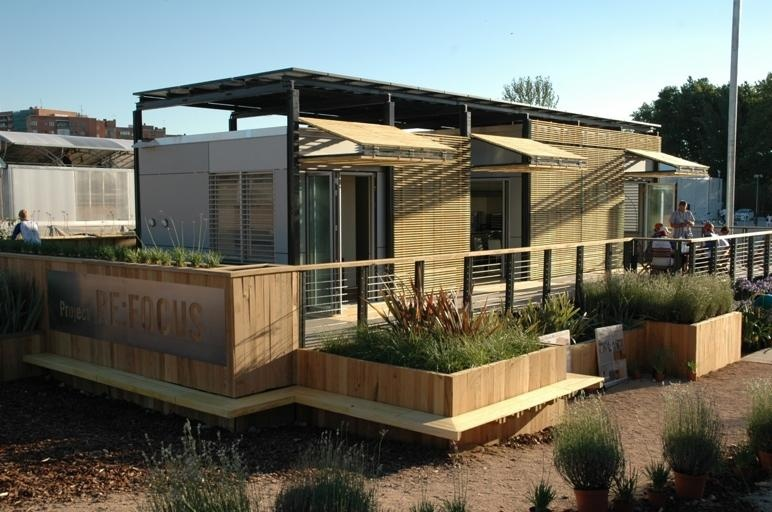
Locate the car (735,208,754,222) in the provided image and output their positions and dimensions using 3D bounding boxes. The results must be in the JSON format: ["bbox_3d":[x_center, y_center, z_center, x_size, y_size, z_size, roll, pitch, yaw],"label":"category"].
[{"bbox_3d":[28.493,-3.228,62.655,1.197,0.643,1.748,1,1,43],"label":"car"}]

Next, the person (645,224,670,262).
[{"bbox_3d":[6.043,-0.326,17.262,0.706,0.805,0.791,-1,-9,18],"label":"person"}]

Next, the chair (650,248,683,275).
[{"bbox_3d":[6.026,0.083,16.983,0.527,0.716,0.564,4,7,38],"label":"chair"}]
